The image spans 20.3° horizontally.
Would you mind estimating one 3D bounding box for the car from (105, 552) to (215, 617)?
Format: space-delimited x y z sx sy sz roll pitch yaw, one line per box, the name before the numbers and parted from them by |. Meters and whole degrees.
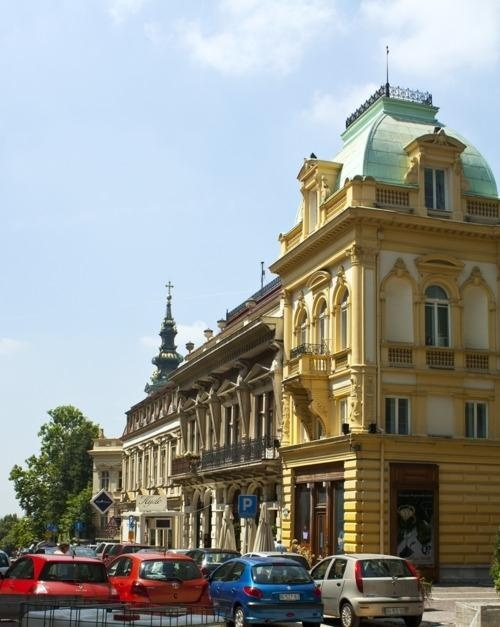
car | -1.938 5.834 30.279 1.259 1.125 2.307 3 -9 -18
